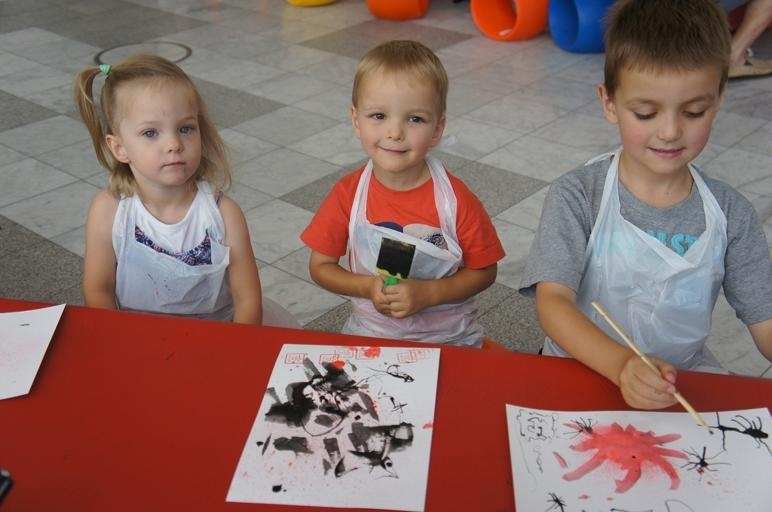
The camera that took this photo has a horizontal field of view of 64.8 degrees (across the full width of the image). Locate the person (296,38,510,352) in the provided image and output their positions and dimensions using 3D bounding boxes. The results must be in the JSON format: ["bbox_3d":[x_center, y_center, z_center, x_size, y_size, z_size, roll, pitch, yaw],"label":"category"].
[{"bbox_3d":[0.042,-0.096,1.650,0.418,0.886,0.486,4,29,9],"label":"person"}]
